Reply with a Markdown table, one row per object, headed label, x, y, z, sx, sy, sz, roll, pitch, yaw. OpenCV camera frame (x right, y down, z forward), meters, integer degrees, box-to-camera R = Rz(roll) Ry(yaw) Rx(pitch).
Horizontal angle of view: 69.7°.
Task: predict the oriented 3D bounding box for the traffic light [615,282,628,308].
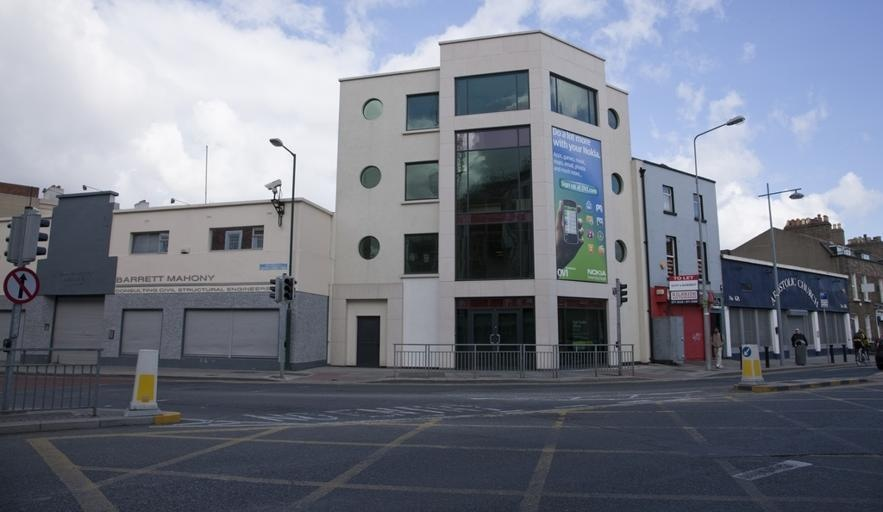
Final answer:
| label | x | y | z | sx | sy | sz | roll | pitch | yaw |
| --- | --- | --- | --- | --- | --- | --- | --- | --- | --- |
| traffic light | 8.668 | 1.883 | 30.912 | 0.500 | 1.269 | 1.148 | 1 | 3 | 14 |

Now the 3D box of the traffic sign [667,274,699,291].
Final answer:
| label | x | y | z | sx | sy | sz | roll | pitch | yaw |
| --- | --- | --- | --- | --- | --- | --- | --- | --- | --- |
| traffic sign | 14.604 | 1.673 | 38.296 | 1.126 | 0.682 | 1.161 | 3 | -5 | -21 |

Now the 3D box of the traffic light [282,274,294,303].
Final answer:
| label | x | y | z | sx | sy | sz | roll | pitch | yaw |
| --- | --- | --- | --- | --- | --- | --- | --- | --- | --- |
| traffic light | -7.081 | 1.510 | 29.220 | 0.462 | 1.155 | 0.655 | 0 | 3 | -17 |

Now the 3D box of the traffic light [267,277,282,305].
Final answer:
| label | x | y | z | sx | sy | sz | roll | pitch | yaw |
| --- | --- | --- | --- | --- | --- | --- | --- | --- | --- |
| traffic light | -7.561 | 1.499 | 29.053 | 0.534 | 1.116 | 0.874 | 0 | 3 | -11 |

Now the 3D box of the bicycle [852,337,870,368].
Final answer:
| label | x | y | z | sx | sy | sz | roll | pitch | yaw |
| --- | --- | --- | --- | --- | --- | --- | --- | --- | --- |
| bicycle | 24.983 | 5.681 | 37.837 | 0.955 | 1.141 | 1.951 | -6 | -18 | 31 |
